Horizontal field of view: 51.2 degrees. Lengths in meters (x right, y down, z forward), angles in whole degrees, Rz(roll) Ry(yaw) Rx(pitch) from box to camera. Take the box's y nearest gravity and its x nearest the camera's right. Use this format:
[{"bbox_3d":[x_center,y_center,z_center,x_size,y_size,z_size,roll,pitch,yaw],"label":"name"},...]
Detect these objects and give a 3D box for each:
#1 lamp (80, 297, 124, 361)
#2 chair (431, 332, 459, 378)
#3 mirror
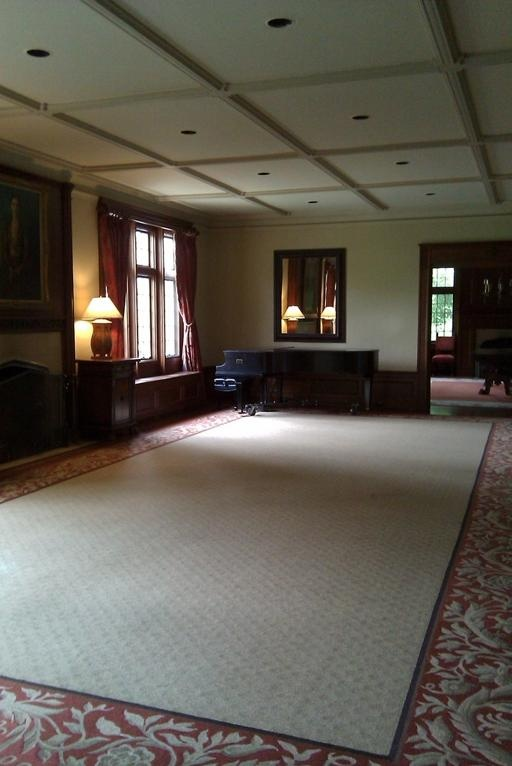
[{"bbox_3d":[-1.863,-0.680,6.451,0.435,0.769,0.575,-2,2,-18],"label":"lamp"},{"bbox_3d":[5.364,-0.807,15.297,0.623,1.178,0.802,-1,2,23],"label":"chair"},{"bbox_3d":[0.965,-1.568,9.180,1.504,2.058,0.166,1,4,17],"label":"mirror"}]
